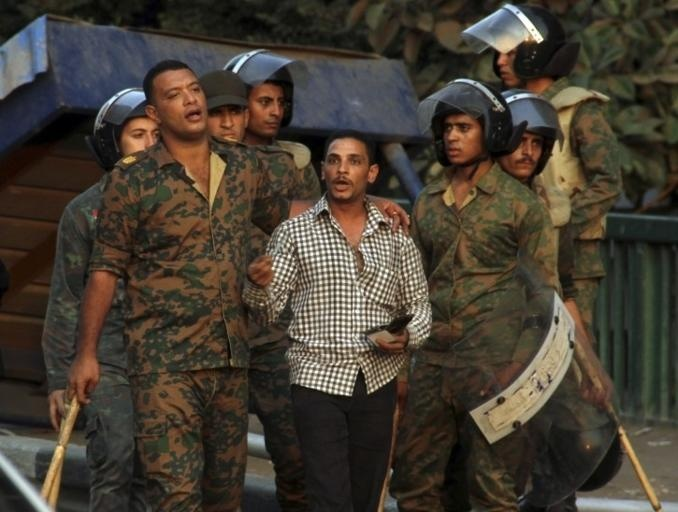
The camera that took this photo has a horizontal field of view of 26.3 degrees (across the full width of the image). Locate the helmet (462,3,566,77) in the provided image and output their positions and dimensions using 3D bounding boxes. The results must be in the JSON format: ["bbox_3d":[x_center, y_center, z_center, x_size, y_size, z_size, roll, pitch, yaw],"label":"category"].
[{"bbox_3d":[1.152,-1.377,9.198,0.611,0.355,0.432,-1,2,-10],"label":"helmet"}]

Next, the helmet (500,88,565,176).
[{"bbox_3d":[1.148,-0.765,8.551,0.437,0.428,0.354,18,10,22],"label":"helmet"}]
